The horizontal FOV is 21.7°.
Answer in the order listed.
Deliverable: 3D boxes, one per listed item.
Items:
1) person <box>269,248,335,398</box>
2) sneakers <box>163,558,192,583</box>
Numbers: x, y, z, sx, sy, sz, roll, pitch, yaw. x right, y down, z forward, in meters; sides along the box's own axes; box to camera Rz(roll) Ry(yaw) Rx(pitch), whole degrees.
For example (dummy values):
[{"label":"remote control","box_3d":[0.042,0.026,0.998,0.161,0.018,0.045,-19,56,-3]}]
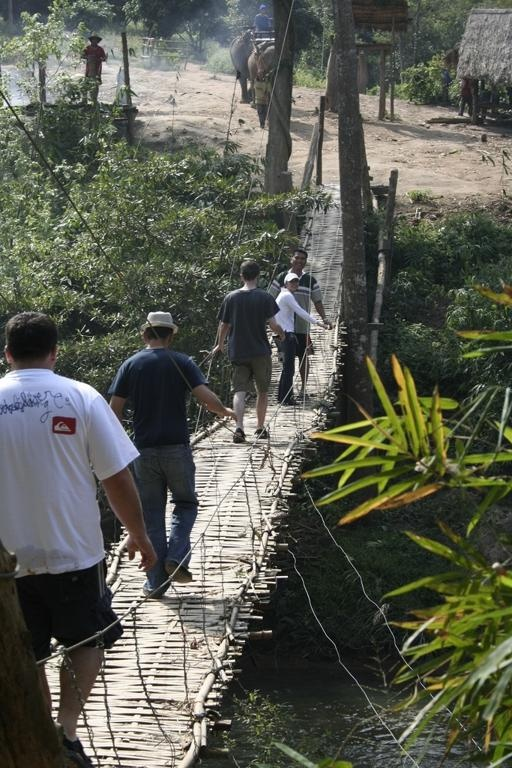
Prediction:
[{"label":"person","box_3d":[0.314,-0.454,9.909,0.463,1.109,0.322,2,16,2]},{"label":"sneakers","box_3d":[-0.359,0.896,6.262,0.059,0.167,0.065,-32,44,-3]}]
